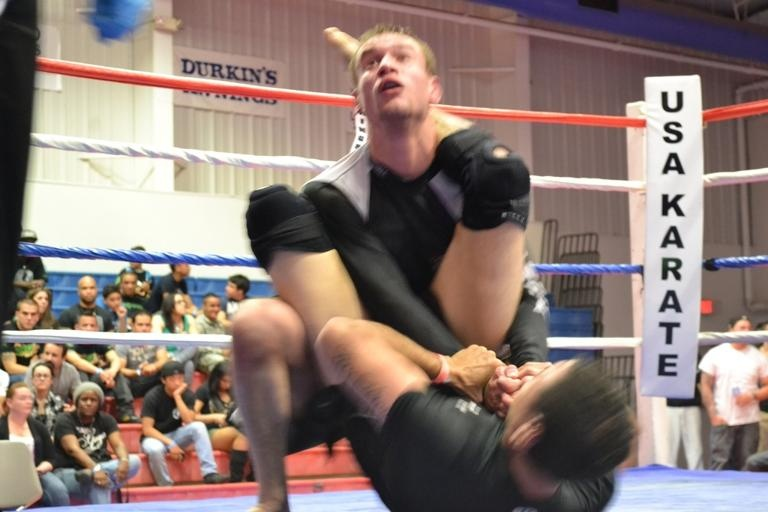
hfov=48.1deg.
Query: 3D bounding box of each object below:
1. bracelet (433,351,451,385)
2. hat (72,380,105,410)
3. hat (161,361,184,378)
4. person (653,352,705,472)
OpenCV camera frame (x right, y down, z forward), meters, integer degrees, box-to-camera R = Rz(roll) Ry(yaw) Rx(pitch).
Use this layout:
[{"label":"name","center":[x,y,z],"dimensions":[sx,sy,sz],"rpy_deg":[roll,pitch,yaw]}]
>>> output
[{"label":"bracelet","center":[0.203,0.380,2.851],"dimensions":[0.059,0.077,0.079],"rpy_deg":[4,24,7]},{"label":"hat","center":[-1.911,0.898,5.518],"dimensions":[0.176,0.124,0.165],"rpy_deg":[0,-15,-14]},{"label":"hat","center":[-1.485,0.782,5.985],"dimensions":[0.131,0.074,0.123],"rpy_deg":[1,-5,-28]},{"label":"person","center":[2.666,1.488,7.552],"dimensions":[0.280,0.903,0.850],"rpy_deg":[-3,-1,19]}]
